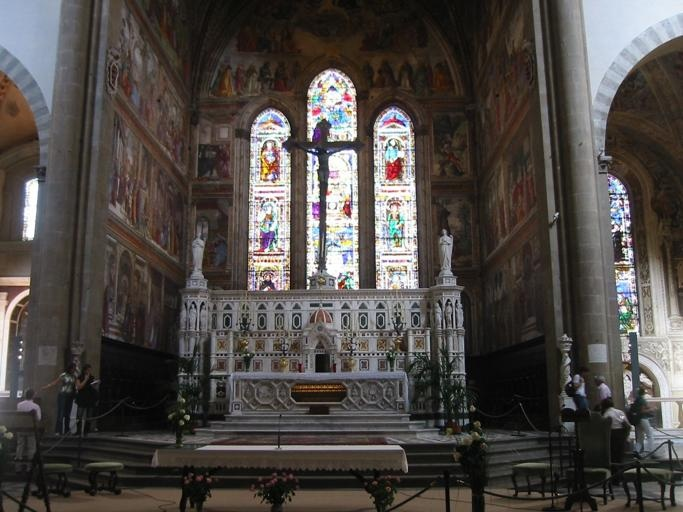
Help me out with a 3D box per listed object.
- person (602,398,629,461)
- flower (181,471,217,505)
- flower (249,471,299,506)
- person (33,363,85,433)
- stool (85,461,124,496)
[{"bbox_3d":[6.394,4.121,17.371,0.749,1.453,0.812,-1,-4,11],"label":"person"},{"bbox_3d":[-2.787,4.725,15.096,0.657,0.821,0.673,-4,-5,30],"label":"flower"},{"bbox_3d":[-1.271,4.619,14.669,0.786,0.678,0.748,0,-15,-3],"label":"flower"},{"bbox_3d":[-7.983,4.059,21.155,1.054,2.053,1.482,9,-17,-34],"label":"person"},{"bbox_3d":[-5.490,5.108,17.068,0.901,0.809,0.942,0,-5,3],"label":"stool"}]
